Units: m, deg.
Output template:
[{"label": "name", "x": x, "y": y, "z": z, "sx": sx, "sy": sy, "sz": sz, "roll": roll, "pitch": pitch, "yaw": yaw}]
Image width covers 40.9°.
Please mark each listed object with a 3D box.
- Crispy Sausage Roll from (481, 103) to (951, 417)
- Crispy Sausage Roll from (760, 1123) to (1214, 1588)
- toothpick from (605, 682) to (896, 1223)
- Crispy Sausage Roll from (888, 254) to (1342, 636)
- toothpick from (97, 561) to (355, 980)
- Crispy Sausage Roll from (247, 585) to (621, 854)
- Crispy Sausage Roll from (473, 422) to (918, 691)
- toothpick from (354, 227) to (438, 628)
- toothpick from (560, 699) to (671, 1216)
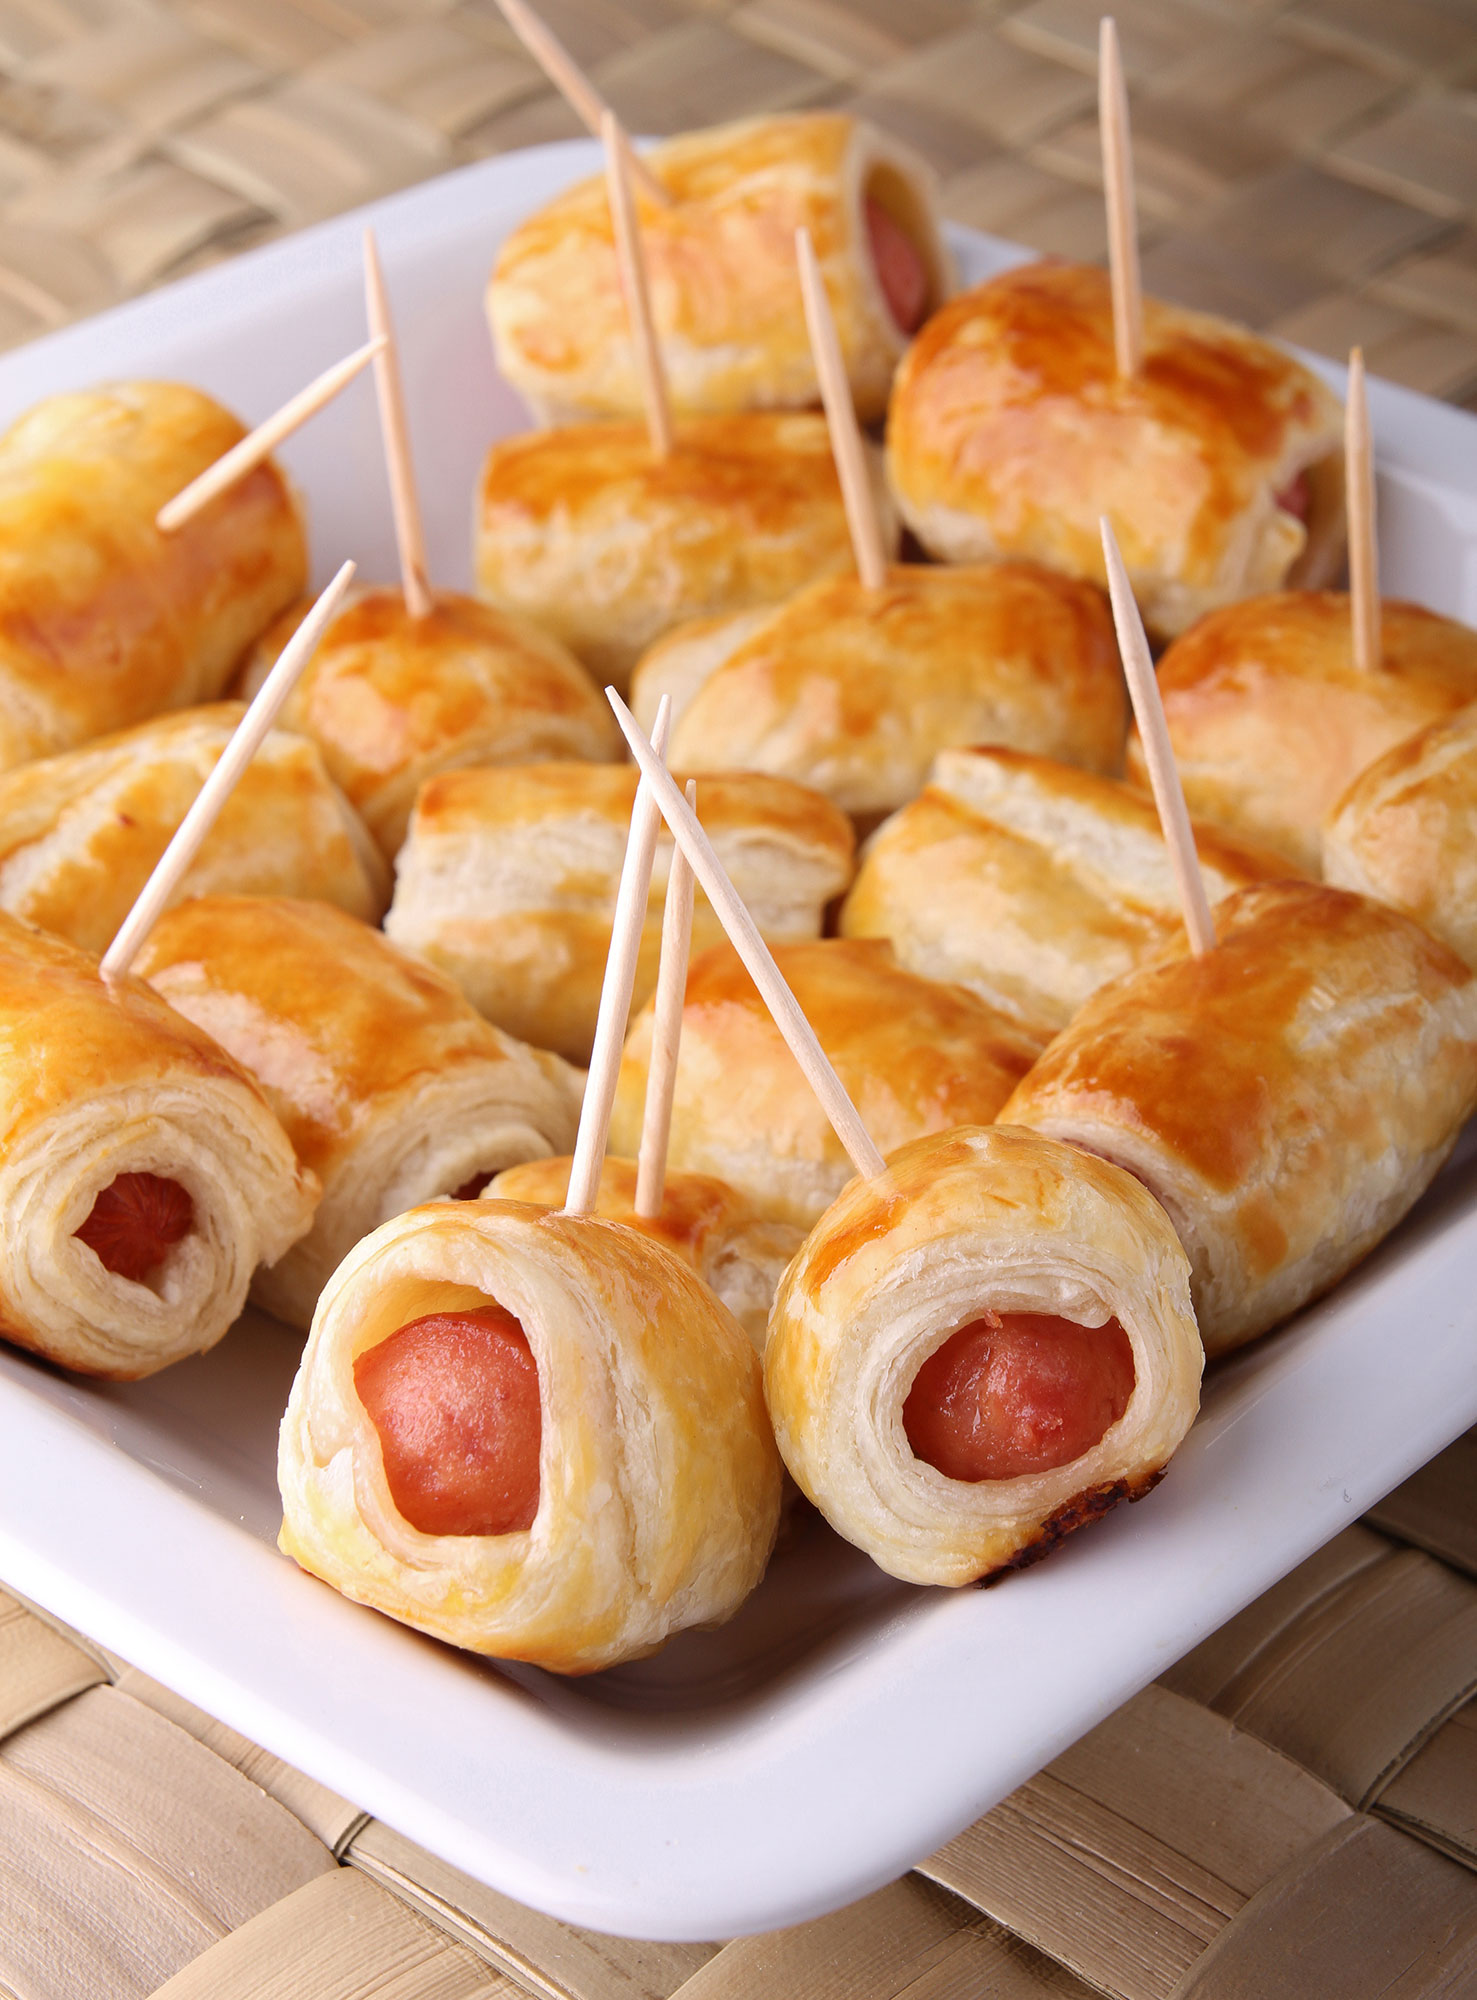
[{"label": "Crispy Sausage Roll", "x": 0.015, "y": -0.480, "z": 1.394, "sx": 0.153, "sy": 0.259, "sz": 0.375, "roll": -25, "pitch": 3, "yaw": 9}, {"label": "Crispy Sausage Roll", "x": 0.076, "y": 0.108, "z": 0.613, "sx": 0.159, "sy": 0.133, "sz": 0.062, "roll": 4, "pitch": -10, "yaw": -1}, {"label": "toothpick", "x": 0.007, "y": -0.016, "z": 0.872, "sx": 0.025, "sy": 0.300, "sz": 0.024, "roll": -29, "pitch": 9, "yaw": 13}, {"label": "Crispy Sausage Roll", "x": 0.194, "y": -0.308, "z": 1.171, "sx": 0.265, "sy": 0.108, "sz": 0.208, "roll": 26, "pitch": 51, "yaw": 29}, {"label": "toothpick", "x": -0.251, "y": -0.107, "z": 0.963, "sx": 0.290, "sy": 0.025, "sz": 0.021, "roll": -53, "pitch": 10, "yaw": -1}, {"label": "Crispy Sausage Roll", "x": -0.160, "y": -0.163, "z": 1.133, "sx": 0.171, "sy": 0.104, "sz": 0.173, "roll": 2, "pitch": 36, "yaw": -1}, {"label": "Crispy Sausage Roll", "x": -0.060, "y": -0.305, "z": 1.244, "sx": 0.247, "sy": 0.103, "sz": 0.194, "roll": -9, "pitch": 41, "yaw": -19}, {"label": "toothpick", "x": -0.210, "y": -0.342, "z": 1.205, "sx": 0.033, "sy": 0.320, "sz": 0.037, "roll": -5, "pitch": 4, "yaw": -37}, {"label": "toothpick", "x": -0.053, "y": -0.011, "z": 0.851, "sx": 0.021, "sy": 0.239, "sz": 0.021, "roll": 8, "pitch": -4, "yaw": 6}]
